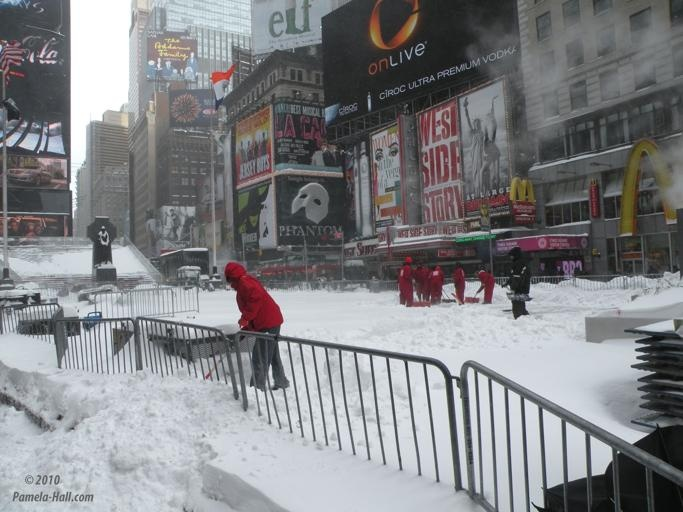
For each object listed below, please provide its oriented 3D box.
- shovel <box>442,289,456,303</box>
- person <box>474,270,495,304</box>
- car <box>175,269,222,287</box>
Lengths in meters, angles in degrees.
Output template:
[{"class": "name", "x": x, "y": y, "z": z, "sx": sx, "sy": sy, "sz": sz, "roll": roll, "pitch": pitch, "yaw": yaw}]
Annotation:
[{"class": "shovel", "x": 4.557, "y": 1.650, "z": 25.787, "sx": 0.530, "sy": 0.840, "sz": 0.791, "roll": -2, "pitch": -11, "yaw": 10}, {"class": "person", "x": 5.619, "y": 1.175, "z": 23.805, "sx": 0.592, "sy": 1.367, "sz": 1.305, "roll": -1, "pitch": -1, "yaw": 13}, {"class": "car", "x": -11.743, "y": 1.827, "z": 51.276, "sx": 2.761, "sy": 1.697, "sz": 1.995, "roll": 0, "pitch": -4, "yaw": 22}]
